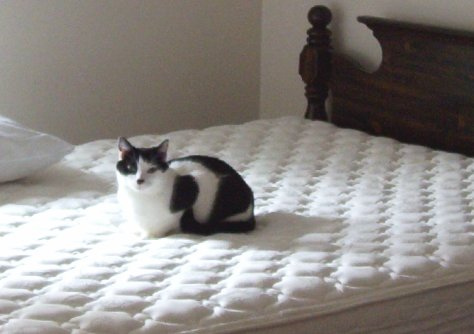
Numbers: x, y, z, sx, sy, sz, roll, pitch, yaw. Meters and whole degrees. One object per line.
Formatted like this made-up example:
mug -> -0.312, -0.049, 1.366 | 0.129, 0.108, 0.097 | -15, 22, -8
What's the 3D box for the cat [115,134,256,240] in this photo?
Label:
cat -> -0.167, 0.041, 1.527 | 0.482, 0.288, 0.308 | -3, 21, -34
